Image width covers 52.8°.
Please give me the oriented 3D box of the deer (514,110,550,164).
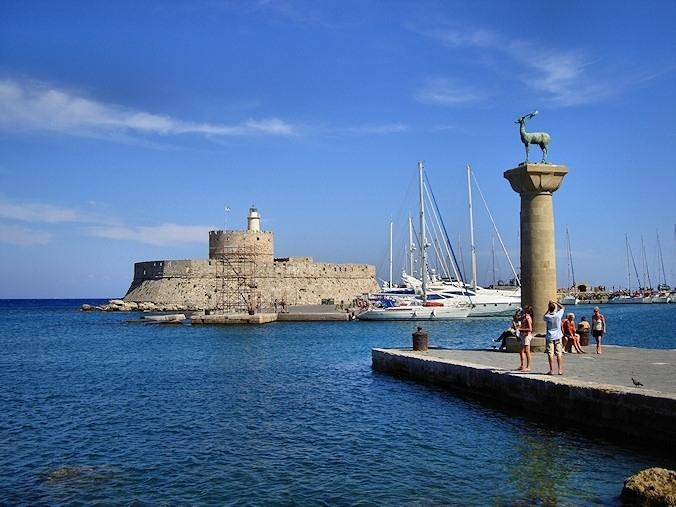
[{"bbox_3d":[5.274,-3.180,18.659,1.131,1.343,0.533,-1,7,-14],"label":"deer"}]
